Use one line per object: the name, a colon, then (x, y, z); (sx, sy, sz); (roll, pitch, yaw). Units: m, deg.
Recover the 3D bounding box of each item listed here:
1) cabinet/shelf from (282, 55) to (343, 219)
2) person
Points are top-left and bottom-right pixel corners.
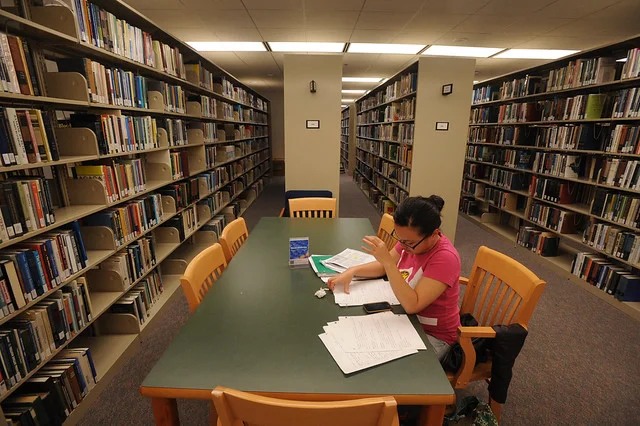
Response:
cabinet/shelf: (-0.100, -1.213, 5.787); (0.802, 1.972, 0.221); (-2, 12, -6)
person: (0.637, 0.697, 3.294); (0.992, 1.732, 0.721); (1, 26, 10)
